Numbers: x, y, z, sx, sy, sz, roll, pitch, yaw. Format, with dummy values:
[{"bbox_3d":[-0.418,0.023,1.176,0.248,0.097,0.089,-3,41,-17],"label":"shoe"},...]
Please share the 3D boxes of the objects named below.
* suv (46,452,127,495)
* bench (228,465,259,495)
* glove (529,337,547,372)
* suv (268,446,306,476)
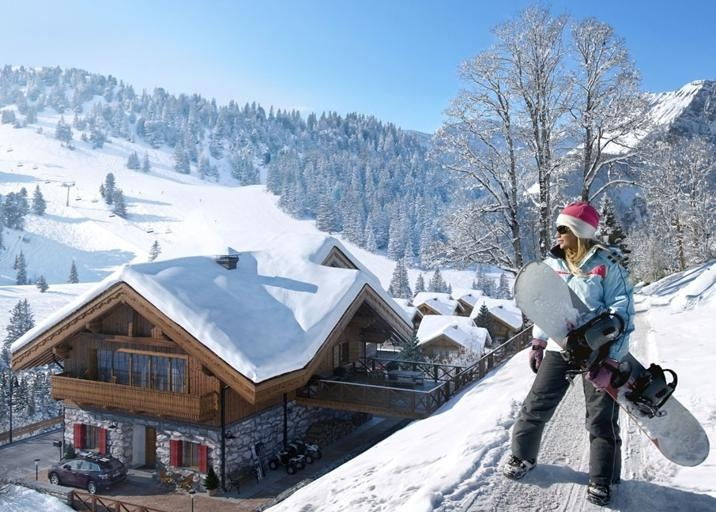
[{"bbox_3d":[-13.572,10.907,33.915,3.514,1.496,1.422,0,9,23],"label":"suv"},{"bbox_3d":[-5.537,10.995,32.924,1.573,0.859,0.798,-11,11,-43],"label":"bench"},{"bbox_3d":[5.913,3.289,22.325,0.321,1.007,0.709,9,-25,21],"label":"glove"},{"bbox_3d":[-3.604,10.358,33.982,1.732,1.144,0.984,1,-3,26],"label":"suv"}]
